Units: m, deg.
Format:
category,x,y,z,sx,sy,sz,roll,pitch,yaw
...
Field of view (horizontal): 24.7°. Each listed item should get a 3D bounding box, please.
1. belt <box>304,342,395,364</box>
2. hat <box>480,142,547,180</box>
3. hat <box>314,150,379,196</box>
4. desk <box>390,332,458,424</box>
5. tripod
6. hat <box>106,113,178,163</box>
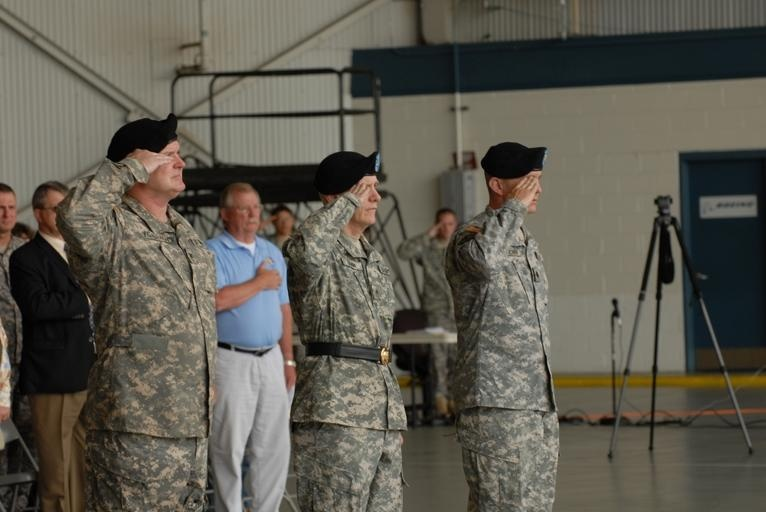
category,x,y,z,sx,sy,sz,roll,pitch,yaw
belt,-0.258,0.751,13.600,0.649,0.170,0.142,1,-4,-2
hat,1.027,-0.755,13.813,0.413,0.139,0.296,-3,20,18
hat,-0.300,-0.706,13.861,0.553,0.266,0.507,-16,9,-4
desk,0.291,1.170,17.408,0.767,0.686,0.749,18,-7,-2
tripod,2.766,0.645,16.495,1.260,2.459,1.427,0,-4,10
hat,-1.901,-0.897,13.678,0.697,0.295,0.492,-12,-3,-5
